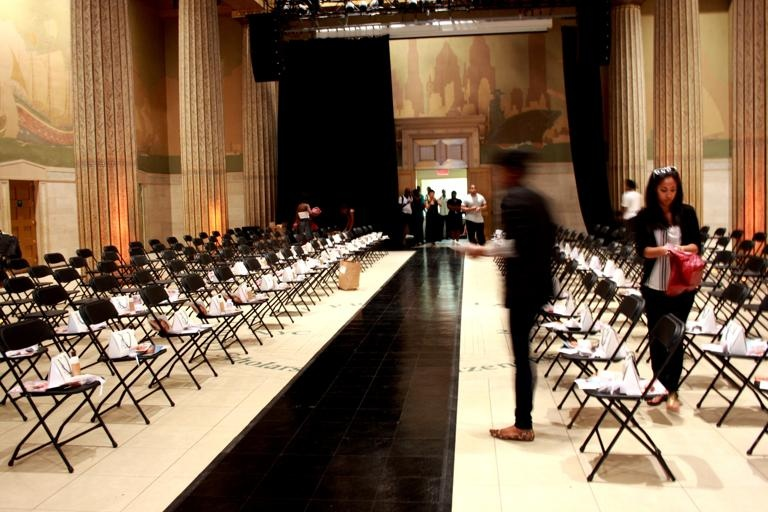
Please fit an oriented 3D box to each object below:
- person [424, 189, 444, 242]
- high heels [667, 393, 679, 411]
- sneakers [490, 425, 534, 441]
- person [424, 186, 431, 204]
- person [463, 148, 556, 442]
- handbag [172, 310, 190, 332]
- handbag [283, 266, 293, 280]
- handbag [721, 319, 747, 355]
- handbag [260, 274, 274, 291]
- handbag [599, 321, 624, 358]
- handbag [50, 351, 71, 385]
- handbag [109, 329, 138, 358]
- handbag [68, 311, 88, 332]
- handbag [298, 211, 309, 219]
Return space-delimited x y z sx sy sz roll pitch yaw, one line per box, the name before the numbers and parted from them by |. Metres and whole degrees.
person | 1.891 -1.543 21.783 0.677 2.194 1.069 0 10 12
high heels | 2.956 1.507 5.797 0.153 0.162 0.150 -4 2 10
sneakers | 1.211 1.672 5.315 0.401 0.171 0.151 4 -16 18
person | 1.739 -2.286 21.540 0.308 0.672 0.829 -1 10 3
person | 1.238 0.405 5.062 0.528 2.662 0.376 1 11 17
handbag | -2.461 0.795 6.766 0.124 0.172 0.242 -5 1 10
handbag | -1.743 0.334 10.396 0.182 0.303 0.320 -2 4 5
handbag | 3.419 0.782 5.489 0.190 0.269 0.404 5 11 14
handbag | -2.019 0.462 9.615 0.230 0.290 0.309 -5 3 12
handbag | 2.234 0.842 5.533 0.196 0.344 0.366 -2 -5 15
handbag | -2.942 1.036 5.099 0.124 0.179 0.253 -5 3 -3
handbag | -2.754 0.938 5.912 0.129 0.186 0.254 -11 -2 11
handbag | -3.608 0.776 6.602 0.154 0.270 0.284 -3 2 9
handbag | -2.532 -1.279 17.591 0.262 0.169 0.205 1 5 25
